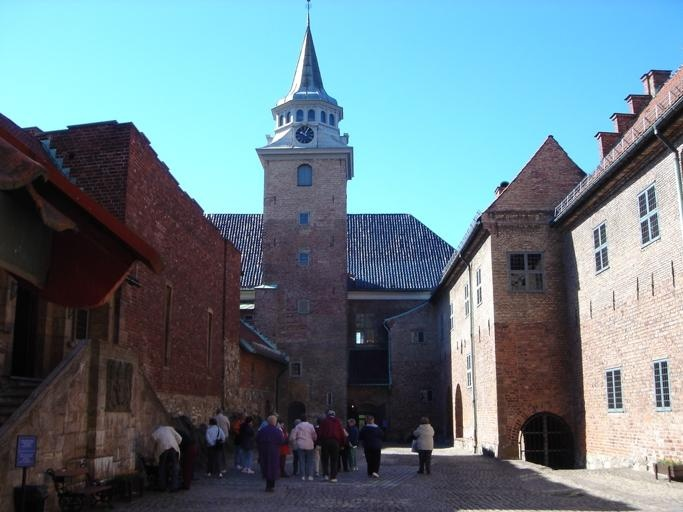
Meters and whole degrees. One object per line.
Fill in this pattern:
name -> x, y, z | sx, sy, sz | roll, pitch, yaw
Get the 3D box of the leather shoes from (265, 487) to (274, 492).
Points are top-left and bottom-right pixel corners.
leather shoes -> -1.718, 5.618, 15.196 | 0.193, 0.120, 0.303 | 2, -20, -7

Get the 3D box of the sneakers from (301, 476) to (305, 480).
sneakers -> -1.095, 6.370, 18.208 | 0.096, 0.140, 0.181 | 5, -15, -14

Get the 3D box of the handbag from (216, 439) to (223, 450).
handbag -> -3.454, 5.401, 18.160 | 0.188, 0.284, 0.296 | 1, 2, 9
